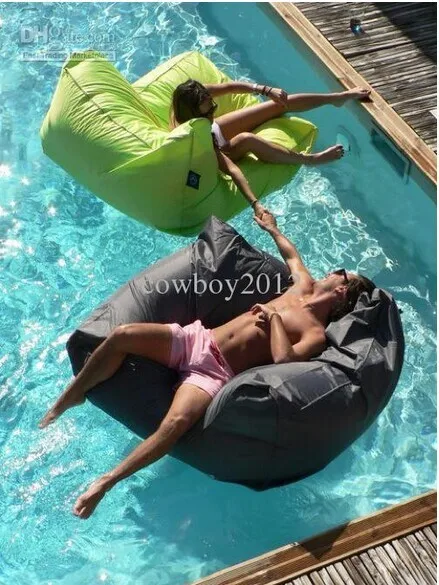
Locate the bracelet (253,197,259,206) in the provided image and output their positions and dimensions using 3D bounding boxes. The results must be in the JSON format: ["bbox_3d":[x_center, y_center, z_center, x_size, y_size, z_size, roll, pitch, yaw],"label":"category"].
[{"bbox_3d":[0.213,-0.522,3.087,0.016,0.037,0.035,15,14,27],"label":"bracelet"}]

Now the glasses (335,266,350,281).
[{"bbox_3d":[0.594,-0.086,2.547,0.075,0.026,0.067,-24,57,3],"label":"glasses"}]

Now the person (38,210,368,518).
[{"bbox_3d":[0.099,0.244,2.280,1.332,0.286,0.882,-25,48,-21],"label":"person"}]

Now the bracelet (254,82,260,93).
[{"bbox_3d":[0.255,-1.384,3.655,0.031,0.085,0.070,4,79,-4],"label":"bracelet"}]

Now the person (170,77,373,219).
[{"bbox_3d":[0.252,-0.949,3.607,1.266,0.524,0.921,-14,61,-5],"label":"person"}]

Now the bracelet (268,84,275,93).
[{"bbox_3d":[0.337,-1.322,3.526,0.052,0.053,0.038,-5,80,0],"label":"bracelet"}]
